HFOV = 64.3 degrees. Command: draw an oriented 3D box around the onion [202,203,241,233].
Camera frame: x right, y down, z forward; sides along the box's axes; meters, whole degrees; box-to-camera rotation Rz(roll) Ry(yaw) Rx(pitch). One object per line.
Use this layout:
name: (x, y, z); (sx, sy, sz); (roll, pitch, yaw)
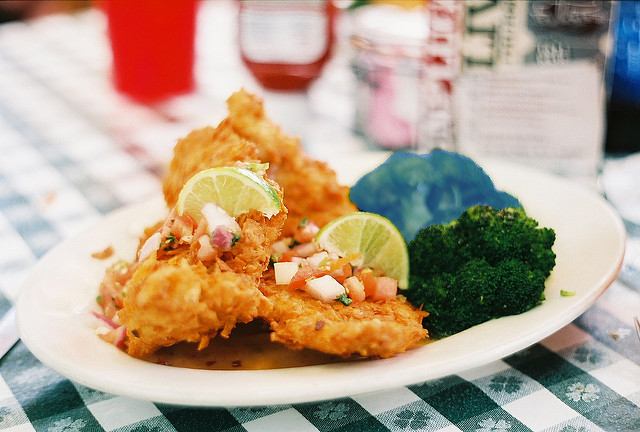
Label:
onion: (-0.651, 0.016, 3.318); (0.236, 0.057, 0.149); (29, 76, 20)

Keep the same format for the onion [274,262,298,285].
onion: (-0.246, 0.402, 3.680); (0.170, 0.146, 0.148); (-3, 27, -6)

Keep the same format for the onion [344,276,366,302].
onion: (0.264, 0.511, 3.580); (0.128, 0.069, 0.158); (-13, 59, -42)

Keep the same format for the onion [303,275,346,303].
onion: (0.038, 0.494, 3.490); (0.193, 0.064, 0.200); (-19, 35, -33)

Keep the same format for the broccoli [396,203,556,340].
broccoli: (1.122, 0.354, 3.668); (1.114, 0.613, 0.862); (-6, 30, 1)

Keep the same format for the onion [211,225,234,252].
onion: (-0.599, 0.153, 3.193); (0.149, 0.133, 0.053); (-3, 2, -29)

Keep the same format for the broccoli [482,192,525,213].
broccoli: (1.441, -0.108, 4.006); (0.207, 0.055, 0.191); (-12, 37, -15)

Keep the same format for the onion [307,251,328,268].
onion: (-0.026, 0.321, 3.814); (0.127, 0.057, 0.244); (4, 30, 17)

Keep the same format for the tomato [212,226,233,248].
tomato: (-0.612, 0.138, 3.214); (0.099, 0.116, 0.099); (10, 35, 26)

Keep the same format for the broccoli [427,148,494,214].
broccoli: (1.158, -0.292, 4.194); (0.273, 0.487, 0.421); (-11, 11, -24)

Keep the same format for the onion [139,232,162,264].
onion: (-1.194, 0.212, 3.588); (0.072, 0.236, 0.214); (37, 26, -21)

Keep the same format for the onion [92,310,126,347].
onion: (-1.427, 0.729, 3.471); (0.112, 0.087, 0.440); (-27, 35, -31)

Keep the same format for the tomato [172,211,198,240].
tomato: (-0.895, 0.064, 3.369); (0.133, 0.126, 0.159); (18, 39, 35)
